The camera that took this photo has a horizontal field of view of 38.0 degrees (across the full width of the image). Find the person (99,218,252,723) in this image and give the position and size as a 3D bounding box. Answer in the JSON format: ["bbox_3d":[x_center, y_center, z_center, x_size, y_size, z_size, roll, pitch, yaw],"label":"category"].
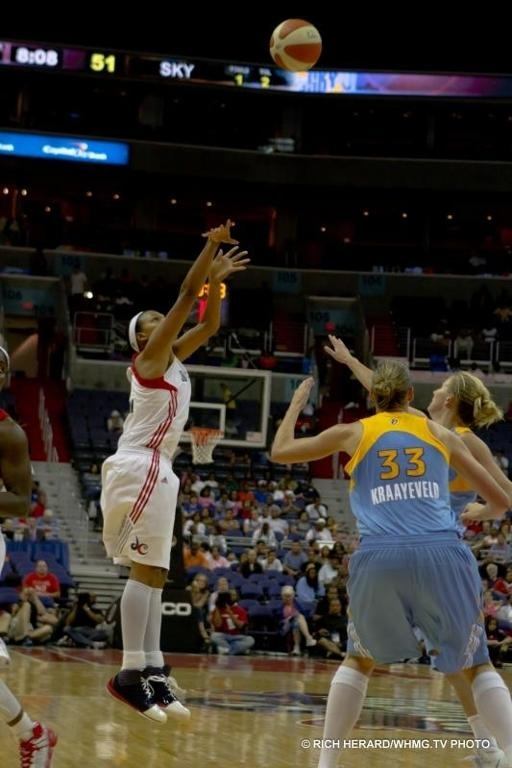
[{"bbox_3d":[-0.442,0.603,3.714,0.688,2.871,1.285,2,9,-2],"label":"person"}]
